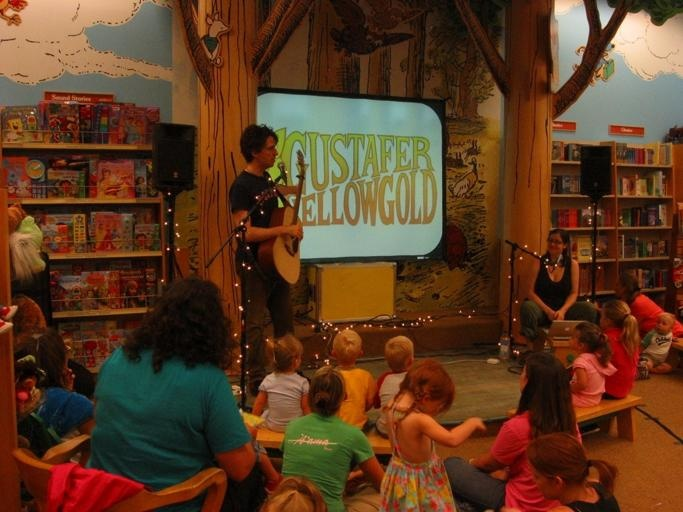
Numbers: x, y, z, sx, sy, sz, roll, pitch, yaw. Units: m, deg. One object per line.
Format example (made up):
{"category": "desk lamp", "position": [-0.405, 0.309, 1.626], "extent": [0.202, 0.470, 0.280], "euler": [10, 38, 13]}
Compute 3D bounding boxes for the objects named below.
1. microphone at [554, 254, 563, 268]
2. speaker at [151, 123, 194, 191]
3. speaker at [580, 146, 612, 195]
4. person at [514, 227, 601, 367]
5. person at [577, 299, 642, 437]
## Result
{"category": "microphone", "position": [2.111, 0.054, 5.845], "extent": [0.023, 0.108, 0.074], "euler": [11, -4, -1]}
{"category": "speaker", "position": [-1.347, -0.777, 4.809], "extent": [0.326, 0.550, 0.135], "euler": [-1, 0, -23]}
{"category": "speaker", "position": [2.651, -0.880, 6.269], "extent": [0.283, 0.575, 0.175], "euler": [0, 0, 18]}
{"category": "person", "position": [2.097, 0.351, 5.794], "extent": [0.701, 1.207, 0.820], "euler": [3, 5, 26]}
{"category": "person", "position": [2.079, 0.848, 4.731], "extent": [0.334, 1.006, 0.537], "euler": [-9, 13, -25]}
